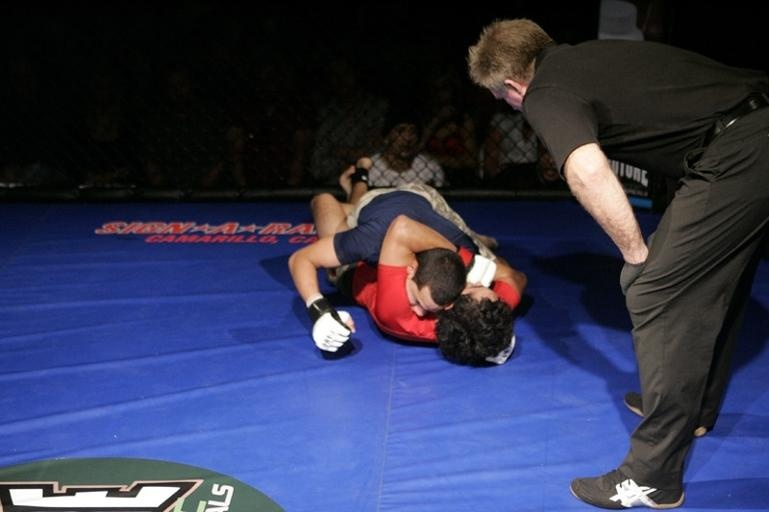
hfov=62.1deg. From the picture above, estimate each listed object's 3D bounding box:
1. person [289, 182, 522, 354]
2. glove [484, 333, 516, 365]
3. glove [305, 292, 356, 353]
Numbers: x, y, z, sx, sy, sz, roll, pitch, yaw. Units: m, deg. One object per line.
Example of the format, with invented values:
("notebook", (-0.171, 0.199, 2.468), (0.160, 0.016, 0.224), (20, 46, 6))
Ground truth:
("person", (0.119, 0.104, 3.823), (0.885, 0.523, 1.343), (10, 25, -22))
("glove", (0.654, 0.521, 3.472), (0.018, 0.161, 0.164), (47, 67, -1))
("glove", (-0.297, 0.408, 3.543), (0.227, 0.304, 0.244), (-9, 34, -5))
